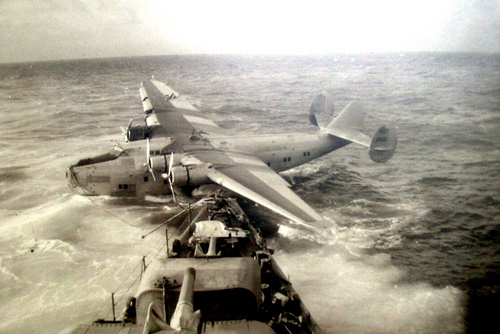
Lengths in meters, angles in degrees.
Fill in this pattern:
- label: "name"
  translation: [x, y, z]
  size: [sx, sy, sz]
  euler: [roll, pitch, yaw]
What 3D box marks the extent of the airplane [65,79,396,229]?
- label: "airplane"
  translation: [-3.051, 0.656, 44.398]
  size: [32.656, 14.159, 19.319]
  euler: [-1, 24, -2]
